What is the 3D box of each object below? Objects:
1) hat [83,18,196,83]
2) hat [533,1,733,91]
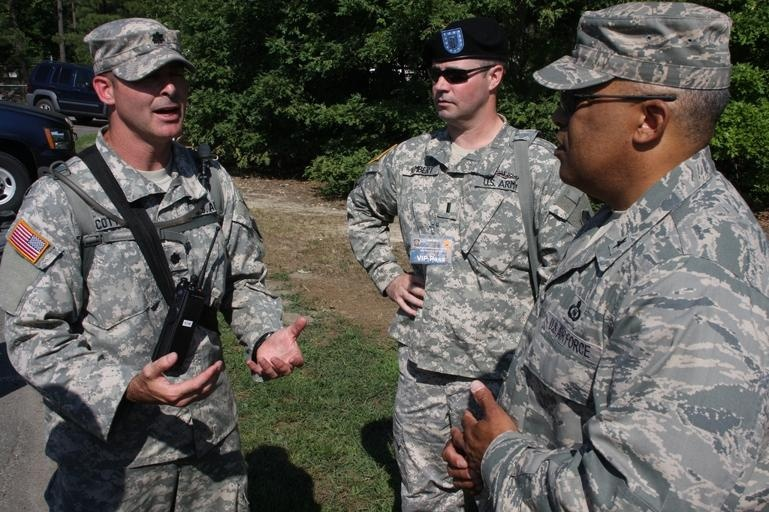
[{"bbox_3d":[-1.185,-0.971,3.193,0.415,0.151,0.320,29,42,30],"label":"hat"},{"bbox_3d":[0.930,-0.722,2.489,0.553,0.246,0.389,9,20,25],"label":"hat"}]
